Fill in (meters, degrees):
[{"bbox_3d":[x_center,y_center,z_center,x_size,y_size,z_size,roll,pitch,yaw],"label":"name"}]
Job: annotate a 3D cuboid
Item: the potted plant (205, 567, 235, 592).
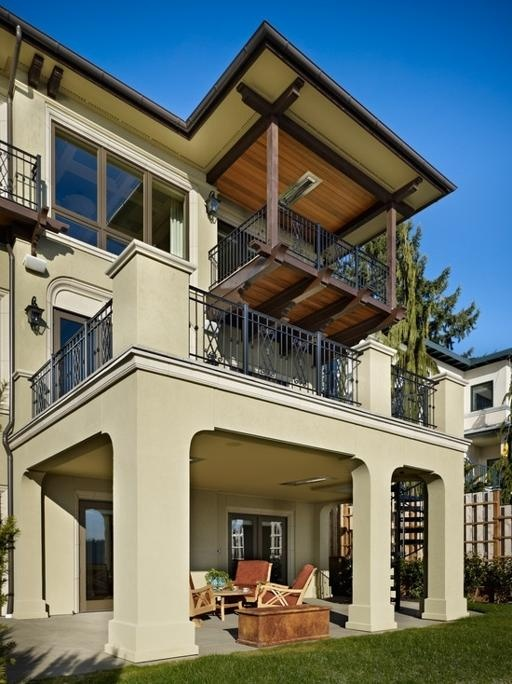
[{"bbox_3d":[-0.707,4.668,19.174,0.393,0.522,0.465,3,-14,-8],"label":"potted plant"}]
